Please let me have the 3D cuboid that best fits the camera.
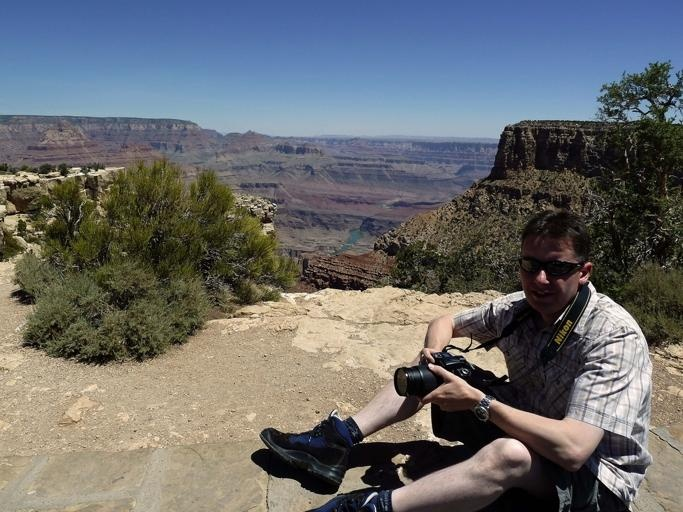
[{"bbox_3d":[0.663,0.788,2.865,0.532,0.234,0.420,-13,3,-20],"label":"camera"}]
